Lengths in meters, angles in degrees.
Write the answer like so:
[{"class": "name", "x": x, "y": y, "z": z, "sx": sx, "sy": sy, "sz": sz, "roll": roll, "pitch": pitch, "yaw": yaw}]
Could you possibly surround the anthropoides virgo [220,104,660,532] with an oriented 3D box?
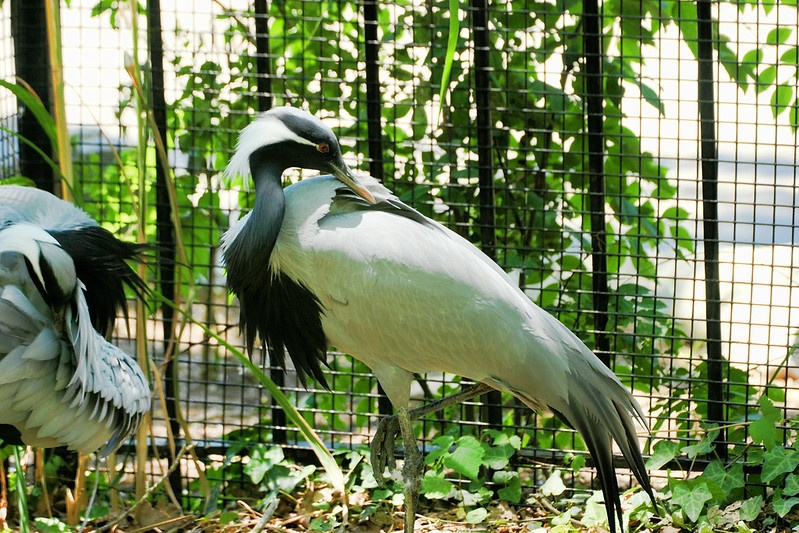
[{"class": "anthropoides virgo", "x": 0.080, "y": 0.267, "z": 6.812, "sx": 1.827, "sy": 2.121, "sz": 0.473, "roll": -3, "pitch": -5, "yaw": -8}]
